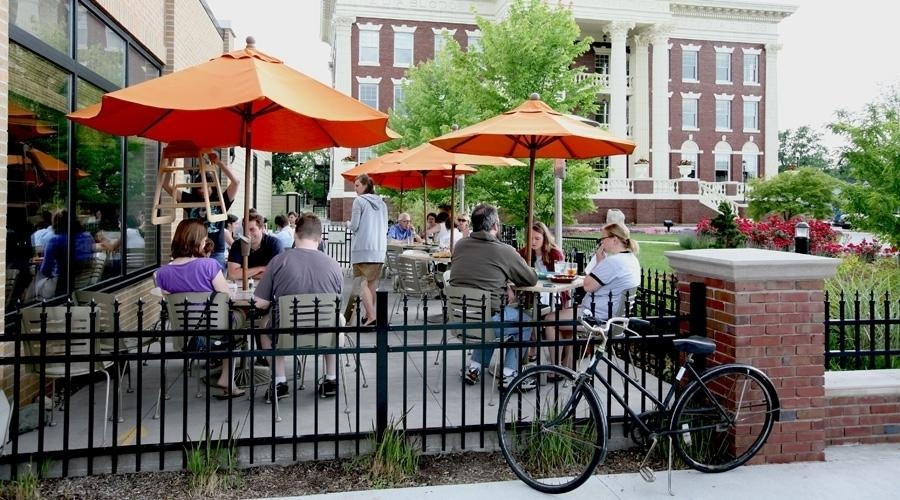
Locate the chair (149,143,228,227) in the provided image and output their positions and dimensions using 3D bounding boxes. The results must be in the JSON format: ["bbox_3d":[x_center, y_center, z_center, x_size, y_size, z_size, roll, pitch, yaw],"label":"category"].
[{"bbox_3d":[-4.544,-1.155,15.065,1.274,1.321,1.277,1,6,42],"label":"chair"}]

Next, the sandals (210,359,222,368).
[{"bbox_3d":[-3.946,1.922,14.914,0.190,0.047,0.199,-5,11,-35],"label":"sandals"}]

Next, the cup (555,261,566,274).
[{"bbox_3d":[1.969,0.306,15.636,0.159,0.159,0.198,0,-2,-11],"label":"cup"}]

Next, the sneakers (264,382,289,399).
[{"bbox_3d":[-2.657,2.198,13.753,0.472,0.289,0.242,3,-3,-13],"label":"sneakers"}]

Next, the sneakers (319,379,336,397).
[{"bbox_3d":[-1.939,2.189,13.986,0.257,0.205,0.451,0,-6,-8],"label":"sneakers"}]

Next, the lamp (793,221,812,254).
[{"bbox_3d":[6.493,-0.252,16.277,0.194,0.549,1.141,2,1,19],"label":"lamp"}]

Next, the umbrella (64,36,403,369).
[{"bbox_3d":[-3.350,-1.973,14.312,3.762,2.787,3.465,11,11,18],"label":"umbrella"}]
